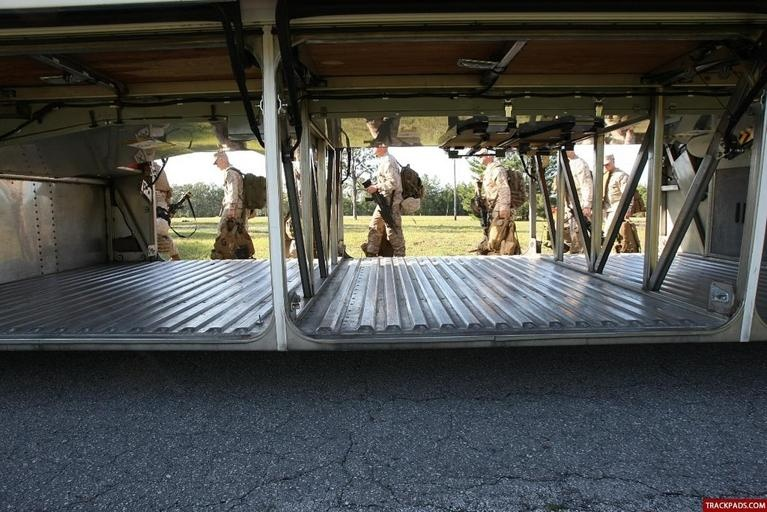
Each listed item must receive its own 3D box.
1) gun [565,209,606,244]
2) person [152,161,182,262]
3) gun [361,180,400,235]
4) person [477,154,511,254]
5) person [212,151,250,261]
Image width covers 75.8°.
[{"bbox_3d":[3.154,-0.491,7.849,0.579,0.804,0.270,4,8,6],"label":"gun"},{"bbox_3d":[-3.881,-0.708,8.929,0.307,1.664,1.031,-5,11,-23],"label":"person"},{"bbox_3d":[0.015,-0.823,8.829,0.592,0.654,0.213,-7,12,-30],"label":"gun"},{"bbox_3d":[2.128,-0.950,9.510,0.535,1.882,0.829,-1,10,-3],"label":"person"},{"bbox_3d":[-2.860,-0.940,9.373,0.737,2.032,0.941,-4,10,-16],"label":"person"}]
